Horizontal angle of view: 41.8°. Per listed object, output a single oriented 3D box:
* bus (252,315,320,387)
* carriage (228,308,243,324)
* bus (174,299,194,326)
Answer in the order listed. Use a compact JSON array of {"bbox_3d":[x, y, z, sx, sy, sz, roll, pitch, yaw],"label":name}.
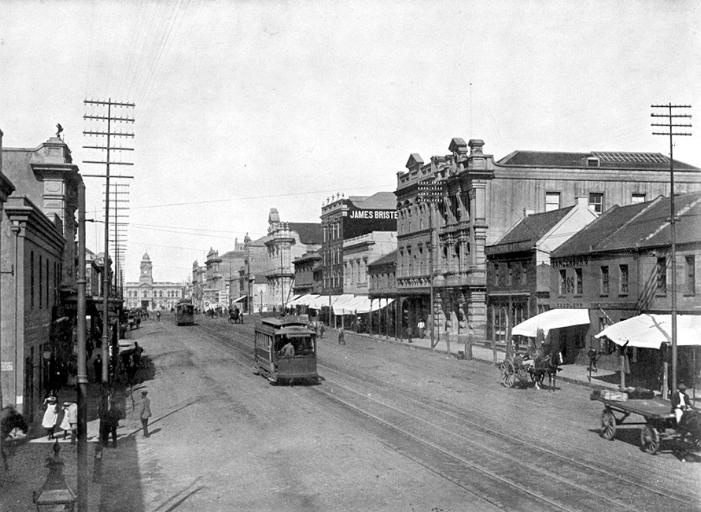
[{"bbox_3d":[-3.559,5.165,50.448,2.618,3.186,5.989,0,-3,-14],"label":"bus"},{"bbox_3d":[-14.225,7.454,112.586,1.048,2.648,4.584,1,2,-17],"label":"carriage"},{"bbox_3d":[-19.159,6.405,105.240,1.587,1.984,2.955,0,3,-14],"label":"bus"}]
